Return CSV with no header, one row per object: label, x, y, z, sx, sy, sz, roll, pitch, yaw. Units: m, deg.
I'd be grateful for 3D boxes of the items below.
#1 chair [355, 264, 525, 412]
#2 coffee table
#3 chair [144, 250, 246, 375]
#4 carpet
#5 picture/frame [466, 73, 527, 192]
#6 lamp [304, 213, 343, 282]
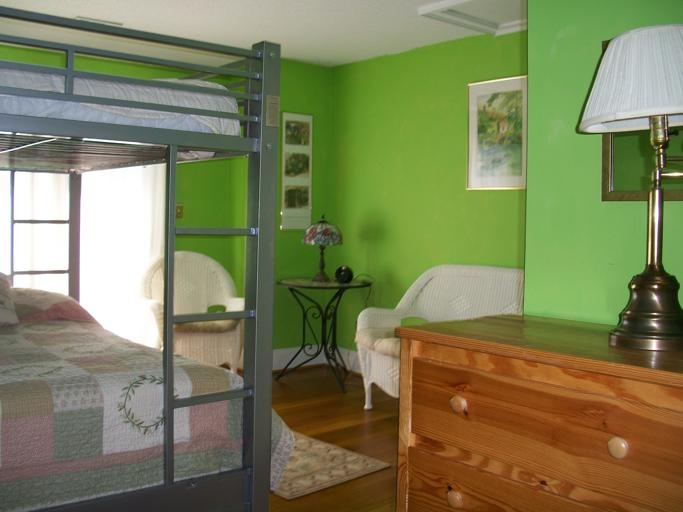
chair,0.690,0.610,4.156,0.951,0.922,1.090,-12,4,-30
coffee table,-0.107,0.716,5.279,1.037,1.003,0.963,0,-2,-25
chair,-1.241,0.493,4.621,0.821,1.002,0.691,3,5,-12
carpet,-0.125,1.302,3.354,0.459,0.003,0.509,-4,8,-37
picture/frame,1.235,-0.972,4.311,0.175,0.891,0.633,-4,8,-26
lamp,-0.182,-0.072,5.082,0.383,0.588,0.375,1,4,-17
